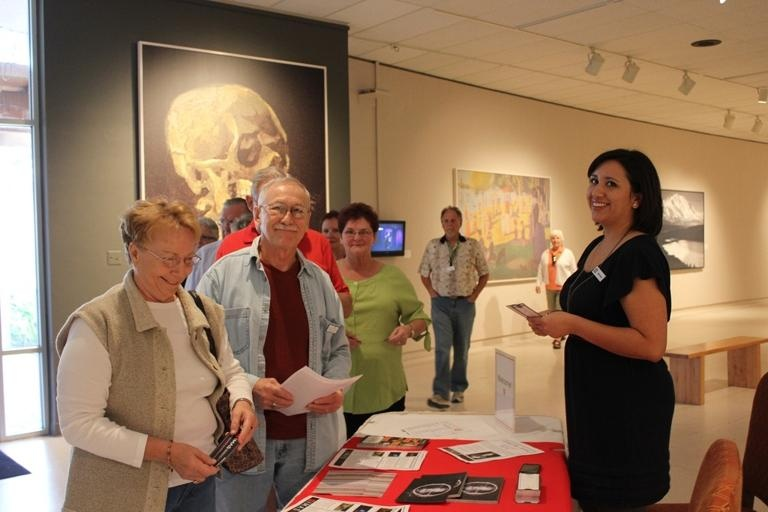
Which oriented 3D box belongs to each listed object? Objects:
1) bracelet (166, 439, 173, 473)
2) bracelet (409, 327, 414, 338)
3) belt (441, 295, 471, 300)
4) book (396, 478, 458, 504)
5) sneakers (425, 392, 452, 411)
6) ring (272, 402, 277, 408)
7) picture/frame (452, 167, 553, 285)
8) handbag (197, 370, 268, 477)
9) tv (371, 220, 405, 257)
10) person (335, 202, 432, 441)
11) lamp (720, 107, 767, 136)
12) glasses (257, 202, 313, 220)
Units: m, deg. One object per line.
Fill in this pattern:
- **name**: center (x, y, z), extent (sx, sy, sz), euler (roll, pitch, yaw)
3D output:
- **bracelet**: center (-1.000, 0.942, 2.695), extent (0.028, 0.205, 0.126), euler (-2, 13, -20)
- **bracelet**: center (0.200, 0.536, 4.061), extent (0.015, 0.051, 0.054), euler (-1, 2, -6)
- **belt**: center (0.898, 0.507, 7.178), extent (0.350, 0.053, 0.082), euler (4, 12, 6)
- **book**: center (0.204, 1.137, 2.787), extent (0.235, 0.043, 0.216), euler (7, 13, 20)
- **sneakers**: center (0.637, 1.688, 6.763), extent (0.314, 0.133, 0.117), euler (5, 5, 29)
- **ring**: center (-0.572, 0.775, 3.017), extent (0.026, 0.035, 0.008), euler (5, 12, 7)
- **picture/frame**: center (1.935, -0.502, 9.630), extent (2.207, 1.517, 0.038), euler (-1, 2, -38)
- **handbag**: center (-0.833, 0.833, 2.869), extent (0.154, 0.328, 0.436), euler (-36, -6, -4)
- **tv**: center (0.060, -0.245, 8.552), extent (0.631, 0.447, 0.047), euler (0, -4, 38)
- **person**: center (-0.096, 0.712, 4.228), extent (0.890, 2.112, 0.691), euler (-3, 16, -6)
- **lamp**: center (7.668, -2.910, 12.275), extent (1.030, 0.546, 0.215), euler (21, -3, -4)
- **glasses**: center (-0.539, -0.256, 3.217), extent (0.262, 0.069, 0.114), euler (0, 12, -16)
